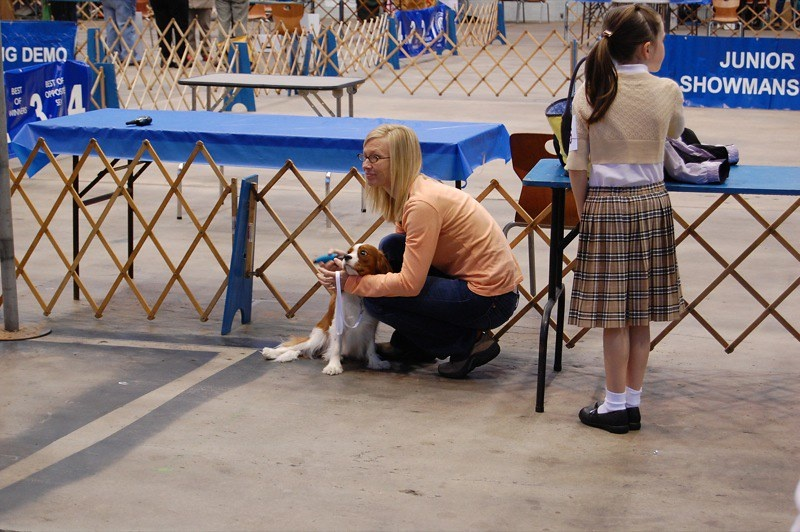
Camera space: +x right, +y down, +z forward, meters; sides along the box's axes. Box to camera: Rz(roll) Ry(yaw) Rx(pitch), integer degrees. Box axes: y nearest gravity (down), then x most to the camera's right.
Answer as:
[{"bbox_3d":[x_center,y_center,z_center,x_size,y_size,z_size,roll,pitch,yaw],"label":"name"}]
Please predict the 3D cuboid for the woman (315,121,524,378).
[{"bbox_3d":[0.125,-0.089,6.194,1.729,1.456,1.126,4,12,20],"label":"woman"}]

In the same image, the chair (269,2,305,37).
[{"bbox_3d":[-2.226,-4.947,18.962,0.607,0.621,1.613,-4,15,-6],"label":"chair"}]

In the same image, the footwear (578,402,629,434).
[{"bbox_3d":[1.164,0.881,5.551,0.322,0.101,0.127,8,9,39],"label":"footwear"}]

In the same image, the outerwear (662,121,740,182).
[{"bbox_3d":[1.723,-0.620,5.588,0.502,0.158,0.441,17,23,8],"label":"outerwear"}]

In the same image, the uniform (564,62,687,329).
[{"bbox_3d":[1.254,-0.386,5.307,0.646,1.439,0.449,-2,18,1],"label":"uniform"}]

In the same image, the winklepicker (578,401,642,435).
[{"bbox_3d":[1.212,0.871,5.504,0.181,0.081,0.273,-3,7,-40],"label":"winklepicker"}]
